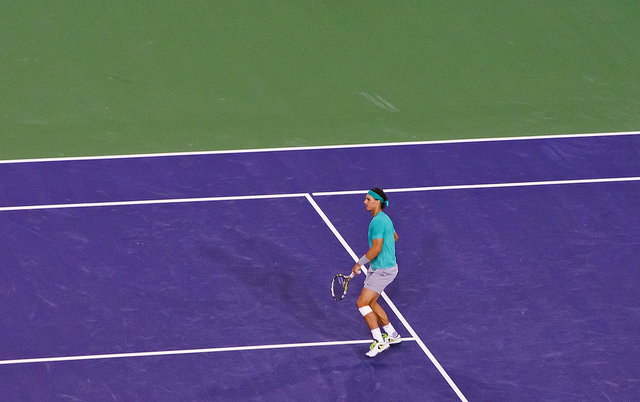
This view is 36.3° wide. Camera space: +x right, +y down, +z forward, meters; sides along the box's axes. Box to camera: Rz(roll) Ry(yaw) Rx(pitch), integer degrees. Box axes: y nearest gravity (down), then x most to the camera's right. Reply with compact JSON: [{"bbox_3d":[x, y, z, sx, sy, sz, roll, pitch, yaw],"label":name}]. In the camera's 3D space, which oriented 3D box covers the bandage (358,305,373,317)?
[{"bbox_3d":[1.083,2.542,22.798,0.221,0.218,0.175,-26,93,-38],"label":"bandage"}]
